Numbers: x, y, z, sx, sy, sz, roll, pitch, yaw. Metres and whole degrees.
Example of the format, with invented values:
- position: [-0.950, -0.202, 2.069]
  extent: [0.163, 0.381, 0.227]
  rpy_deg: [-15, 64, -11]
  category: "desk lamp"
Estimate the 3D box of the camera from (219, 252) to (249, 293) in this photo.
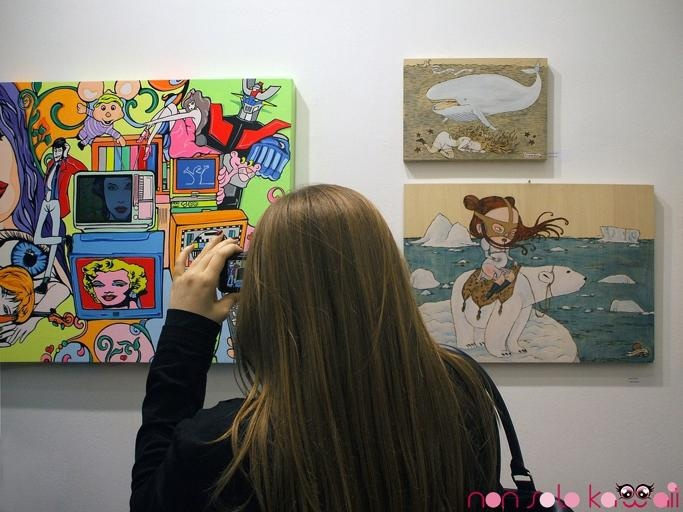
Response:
- position: [-0.301, 0.049, 1.948]
  extent: [0.097, 0.138, 0.073]
  rpy_deg: [4, -7, -6]
  category: "camera"
